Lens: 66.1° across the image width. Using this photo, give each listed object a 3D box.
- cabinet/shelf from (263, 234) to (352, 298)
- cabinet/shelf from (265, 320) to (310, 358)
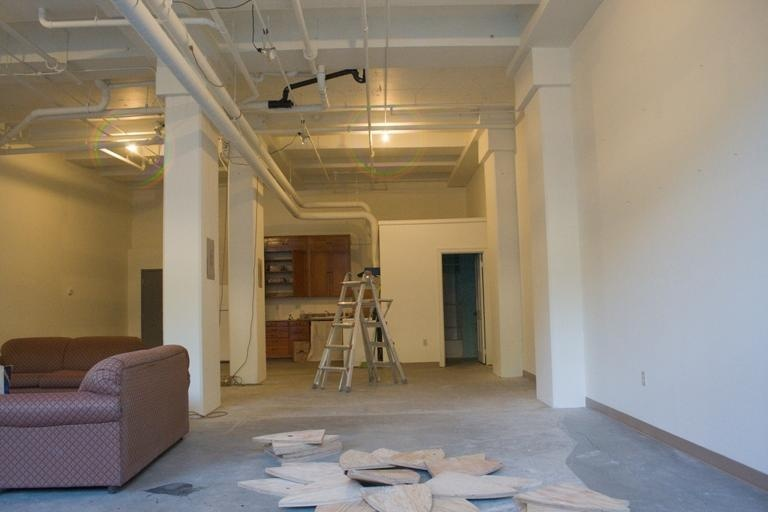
[{"bbox_3d":[-1.787,0.207,13.837,1.516,1.056,0.575,0,-3,1],"label":"cabinet/shelf"},{"bbox_3d":[-2.214,1.908,13.660,1.064,0.862,0.349,0,-4,0],"label":"cabinet/shelf"}]
